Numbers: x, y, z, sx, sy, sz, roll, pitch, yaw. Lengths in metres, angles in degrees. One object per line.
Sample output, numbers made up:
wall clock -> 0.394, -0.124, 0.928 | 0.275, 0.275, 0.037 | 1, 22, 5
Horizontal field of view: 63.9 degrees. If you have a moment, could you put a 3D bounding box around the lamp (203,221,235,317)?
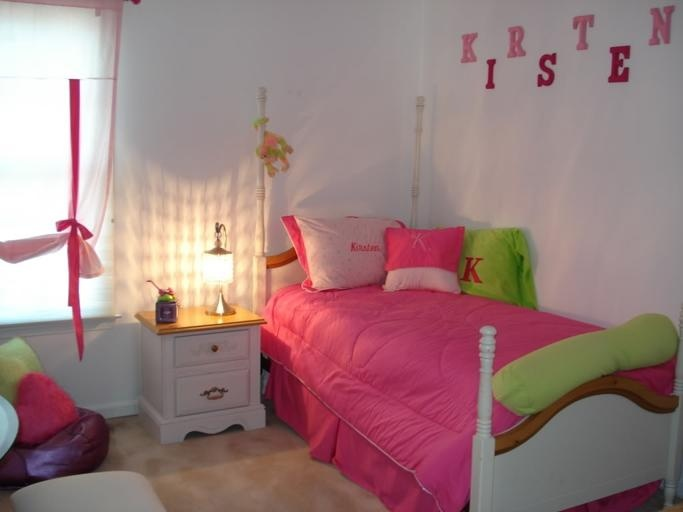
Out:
lamp -> -0.772, 0.064, 3.425 | 0.177, 0.545, 0.418 | -3, 9, -11

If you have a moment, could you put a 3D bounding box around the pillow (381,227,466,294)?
pillow -> 0.530, 0.043, 3.506 | 0.378, 0.371, 0.137 | 0, -17, 5

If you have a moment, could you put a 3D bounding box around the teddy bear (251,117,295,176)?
teddy bear -> -0.481, -0.758, 3.671 | 0.259, 0.390, 0.143 | -20, -6, -6

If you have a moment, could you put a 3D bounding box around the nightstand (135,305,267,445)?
nightstand -> -0.845, 0.639, 3.411 | 0.778, 0.831, 0.644 | -1, 3, -26

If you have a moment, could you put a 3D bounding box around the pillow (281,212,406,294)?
pillow -> -0.001, -0.009, 3.791 | 0.556, 0.300, 0.919 | -3, 28, -7
